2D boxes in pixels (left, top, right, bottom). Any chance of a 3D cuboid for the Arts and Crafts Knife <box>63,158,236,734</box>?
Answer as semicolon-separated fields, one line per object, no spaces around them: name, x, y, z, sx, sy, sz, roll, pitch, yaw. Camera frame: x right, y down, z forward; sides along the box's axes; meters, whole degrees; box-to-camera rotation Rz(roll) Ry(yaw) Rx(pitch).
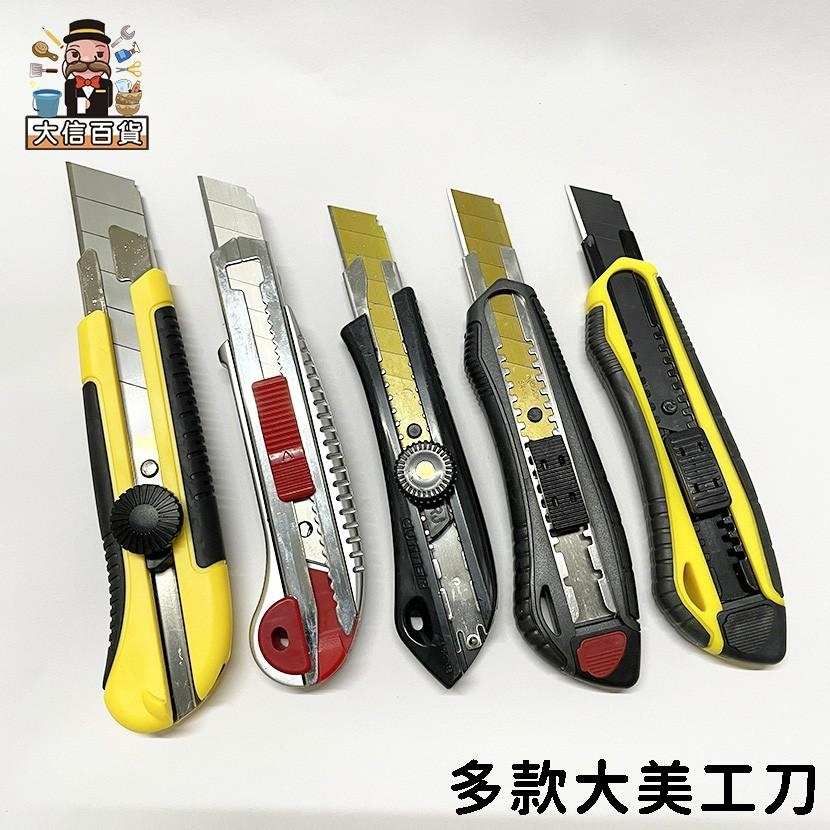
Arts and Crafts Knife;-0.325;0.028;1.179;0.183;0.779;0.084;-9;-18;-8

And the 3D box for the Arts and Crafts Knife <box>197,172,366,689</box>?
Arts and Crafts Knife;-0.173;0.015;1.236;0.167;0.673;0.087;-10;-17;-11
